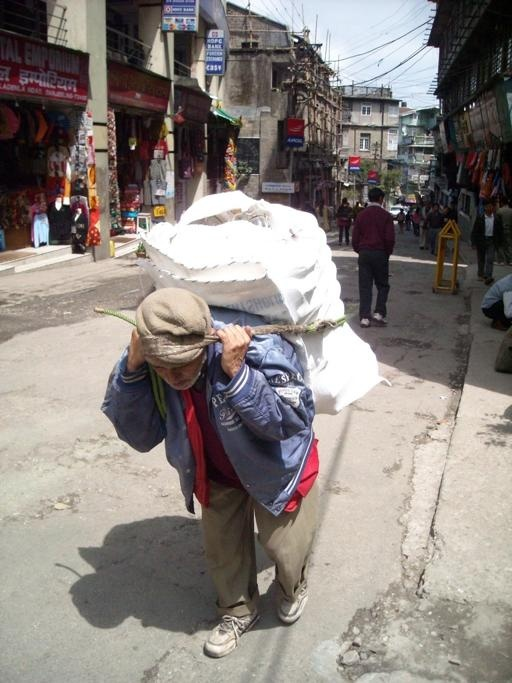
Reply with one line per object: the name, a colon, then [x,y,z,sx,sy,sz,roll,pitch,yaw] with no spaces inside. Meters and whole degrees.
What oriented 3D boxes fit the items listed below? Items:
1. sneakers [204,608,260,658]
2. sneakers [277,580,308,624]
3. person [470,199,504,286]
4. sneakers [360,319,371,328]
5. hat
sneakers: [-0.094,1.001,1.938,0.071,0.090,0.209,3,-2,25]
sneakers: [0.141,0.958,2.042,0.072,0.076,0.167,-2,21,24]
person: [4.785,-2.046,11.586,0.571,1.657,1.302,5,11,23]
sneakers: [1.447,-0.238,7.378,0.078,0.057,0.136,2,18,6]
hat: [-0.205,-0.035,1.392,0.138,0.170,0.197,-4,-1,-5]
